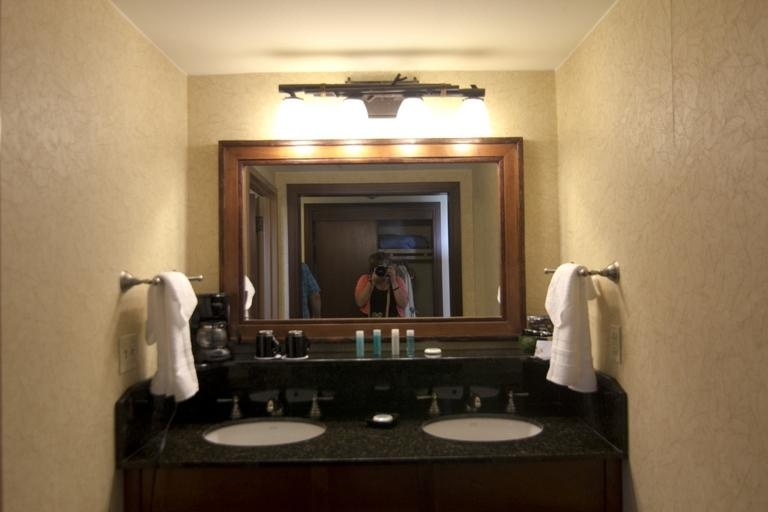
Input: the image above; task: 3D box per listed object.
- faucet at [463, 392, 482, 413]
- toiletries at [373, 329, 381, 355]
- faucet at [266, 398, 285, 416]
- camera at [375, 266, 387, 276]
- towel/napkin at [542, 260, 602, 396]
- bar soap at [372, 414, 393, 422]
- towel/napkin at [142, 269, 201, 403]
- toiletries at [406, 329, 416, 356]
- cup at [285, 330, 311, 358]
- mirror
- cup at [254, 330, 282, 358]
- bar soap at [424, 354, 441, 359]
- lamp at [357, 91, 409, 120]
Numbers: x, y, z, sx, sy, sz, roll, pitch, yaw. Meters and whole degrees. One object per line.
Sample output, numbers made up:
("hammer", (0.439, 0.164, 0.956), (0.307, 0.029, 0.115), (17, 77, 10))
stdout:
("faucet", (0.420, 0.698, 3.154), (0.068, 0.089, 0.037), (0, 1, 6))
("toiletries", (-0.032, 0.421, 3.282), (0.049, 0.119, 0.157), (-1, 1, -2))
("faucet", (-0.508, 0.712, 3.119), (0.084, 0.070, 0.061), (-2, 3, -5))
("camera", (-0.015, 0.077, 3.370), (0.044, 0.054, 0.040), (-14, 1, 6))
("towel/napkin", (0.798, 0.309, 2.878), (0.216, 0.547, 0.159), (0, 1, 29))
("bar soap", (-0.004, 0.747, 3.016), (0.108, 0.030, 0.072), (0, 1, 11))
("towel/napkin", (-0.913, 0.340, 2.856), (0.211, 0.539, 0.195), (-1, 1, -19))
("toiletries", (0.134, 0.420, 3.279), (0.044, 0.120, 0.149), (0, 1, 3))
("cup", (-0.415, 0.430, 3.237), (0.111, 0.123, 0.123), (0, -9, 0))
("mirror", (-0.045, -0.057, 3.349), (1.097, 0.757, 0.040), (0, 2, 3))
("cup", (-0.557, 0.429, 3.202), (0.119, 0.123, 0.088), (-1, 1, -11))
("bar soap", (0.237, 0.479, 3.176), (0.085, 0.019, 0.068), (0, 1, 0))
("lamp", (0.000, -0.754, 3.318), (0.220, 0.110, 0.058), (0, 1, 2))
